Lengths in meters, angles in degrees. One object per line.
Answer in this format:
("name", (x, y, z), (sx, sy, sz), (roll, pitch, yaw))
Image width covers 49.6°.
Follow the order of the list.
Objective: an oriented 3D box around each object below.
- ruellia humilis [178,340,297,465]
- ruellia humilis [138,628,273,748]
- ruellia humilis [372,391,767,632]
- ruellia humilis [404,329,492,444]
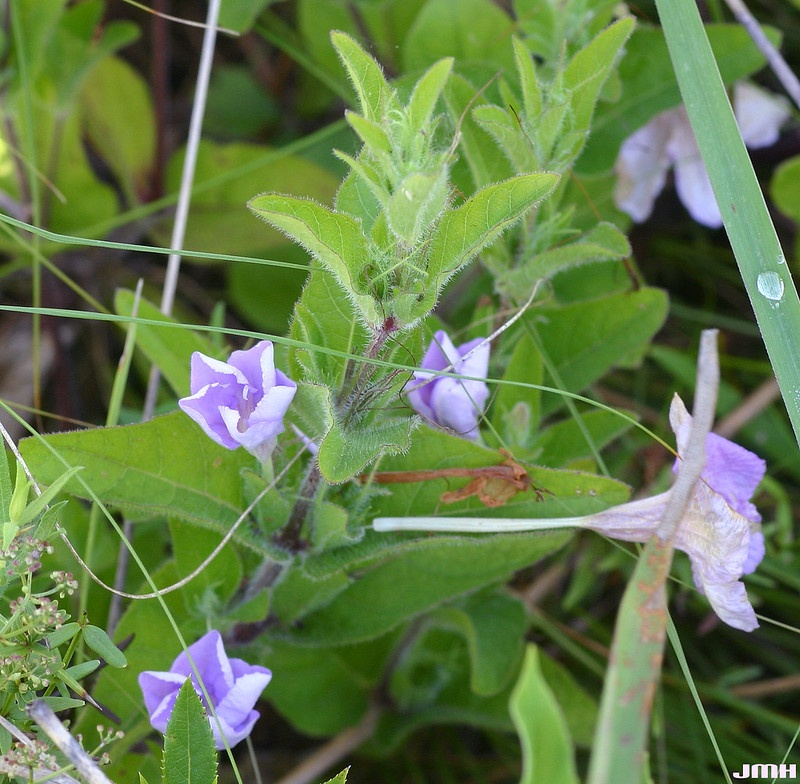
("ruellia humilis", (-0.173, 0.020, 0.908), (0.112, 0.139, 0.110), (3, 22, 22))
("ruellia humilis", (-0.185, 0.346, 0.979), (0.097, 0.143, 0.061), (-39, 48, 5))
("ruellia humilis", (0.187, 0.135, 0.964), (0.397, 0.216, 0.234), (2, 14, -13))
("ruellia humilis", (0.050, 0.006, 1.102), (0.051, 0.095, 0.112), (9, -3, -27))
